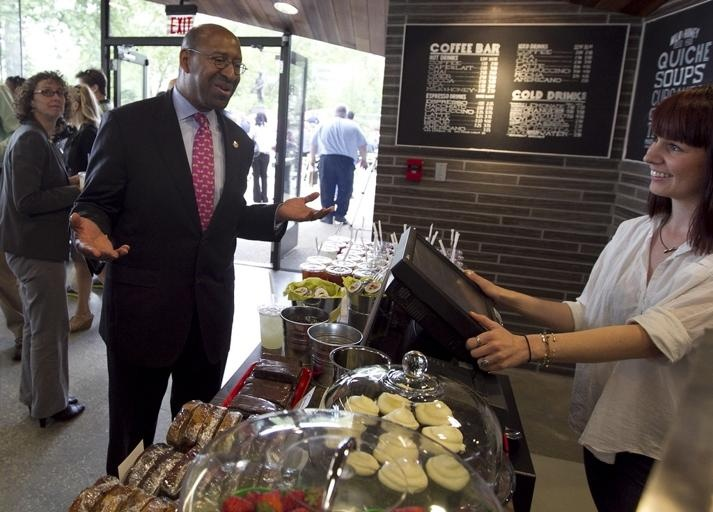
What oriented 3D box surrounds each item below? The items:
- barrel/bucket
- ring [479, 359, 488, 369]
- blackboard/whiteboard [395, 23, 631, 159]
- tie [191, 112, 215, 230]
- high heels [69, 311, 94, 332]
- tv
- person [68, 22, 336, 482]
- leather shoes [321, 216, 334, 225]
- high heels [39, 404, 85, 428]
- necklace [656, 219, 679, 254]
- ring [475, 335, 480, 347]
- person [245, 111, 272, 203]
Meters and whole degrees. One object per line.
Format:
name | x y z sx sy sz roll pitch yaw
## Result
barrel/bucket | -0.109 0.259 1.925 0.326 0.248 0.297 2 16 0
ring | 0.384 0.322 1.511 0.025 0.025 0.006 1 7 -9
blackboard/whiteboard | 1.008 -1.139 3.403 1.443 0.841 0.020 5 8 10
tie | -0.650 -0.385 2.128 0.106 0.521 0.039 0 14 -16
high heels | -2.127 0.502 3.883 0.196 0.094 0.096 -17 -2 -24
tv | 0.255 0.079 1.641 0.430 0.105 0.467 43 19 5
person | -0.849 0.182 2.168 0.727 2.328 1.084 11 9 39
leather shoes | -0.441 -0.544 7.574 0.161 0.120 0.133 1 9 5
high heels | -1.716 0.924 2.928 0.076 0.097 0.232 18 23 14
necklace | 1.111 -0.064 1.799 0.026 0.085 0.088 -2 13 -15
ring | 0.359 0.247 1.468 0.015 0.025 0.025 -7 -18 2
person | -1.022 -1.086 5.348 0.338 0.994 0.338 0 27 -15
